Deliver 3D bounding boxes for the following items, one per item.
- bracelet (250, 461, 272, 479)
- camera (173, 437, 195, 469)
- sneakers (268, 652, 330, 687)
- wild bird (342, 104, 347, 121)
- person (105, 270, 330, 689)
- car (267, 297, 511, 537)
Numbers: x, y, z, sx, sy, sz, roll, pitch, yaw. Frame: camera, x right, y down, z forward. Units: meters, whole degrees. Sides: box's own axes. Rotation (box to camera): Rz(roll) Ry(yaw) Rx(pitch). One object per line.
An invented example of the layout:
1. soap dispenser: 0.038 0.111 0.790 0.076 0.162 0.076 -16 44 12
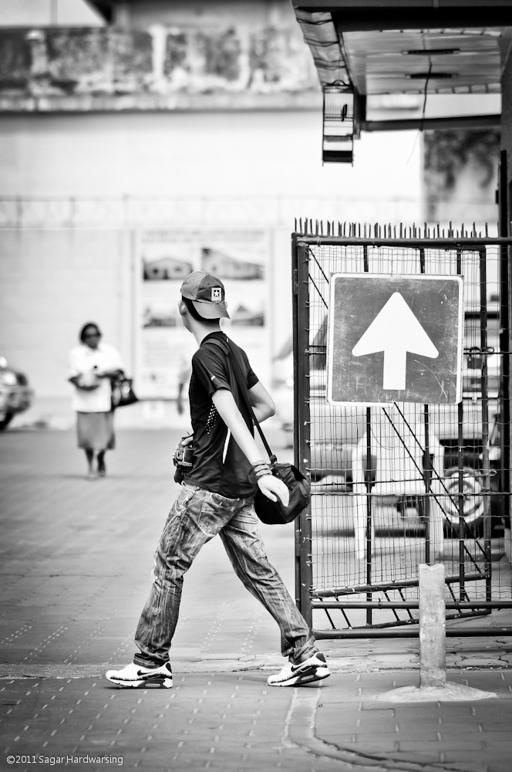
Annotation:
1. bracelet: 0.014 0.356 5.456 0.067 0.081 0.067 -2 6 7
2. camera: -0.325 0.297 5.811 0.095 0.195 0.183 3 -3 -3
3. sneakers: 0.217 1.264 5.781 0.305 0.177 0.125 -10 -5 4
4. wild bird: 0.760 -2.362 10.949 0.037 0.144 0.051 5 0 2
5. person: -0.153 0.436 5.773 0.925 1.900 0.700 -1 5 10
6. car: 1.061 0.248 8.733 1.956 2.099 1.378 0 0 2
